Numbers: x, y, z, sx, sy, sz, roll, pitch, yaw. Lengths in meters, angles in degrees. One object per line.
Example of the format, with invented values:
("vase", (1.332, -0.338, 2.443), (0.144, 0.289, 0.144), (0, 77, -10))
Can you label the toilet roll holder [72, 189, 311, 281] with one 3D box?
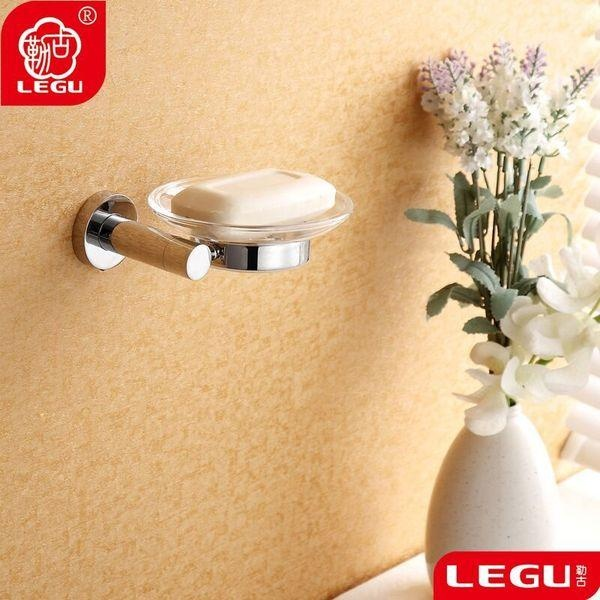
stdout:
("toilet roll holder", (-0.052, -0.065, 0.561), (0.157, 0.074, 0.170), (-8, 21, -23))

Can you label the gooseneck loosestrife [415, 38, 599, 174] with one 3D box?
("gooseneck loosestrife", (0.202, -0.198, 0.770), (0.231, 0.106, 0.159), (0, 13, 2))
